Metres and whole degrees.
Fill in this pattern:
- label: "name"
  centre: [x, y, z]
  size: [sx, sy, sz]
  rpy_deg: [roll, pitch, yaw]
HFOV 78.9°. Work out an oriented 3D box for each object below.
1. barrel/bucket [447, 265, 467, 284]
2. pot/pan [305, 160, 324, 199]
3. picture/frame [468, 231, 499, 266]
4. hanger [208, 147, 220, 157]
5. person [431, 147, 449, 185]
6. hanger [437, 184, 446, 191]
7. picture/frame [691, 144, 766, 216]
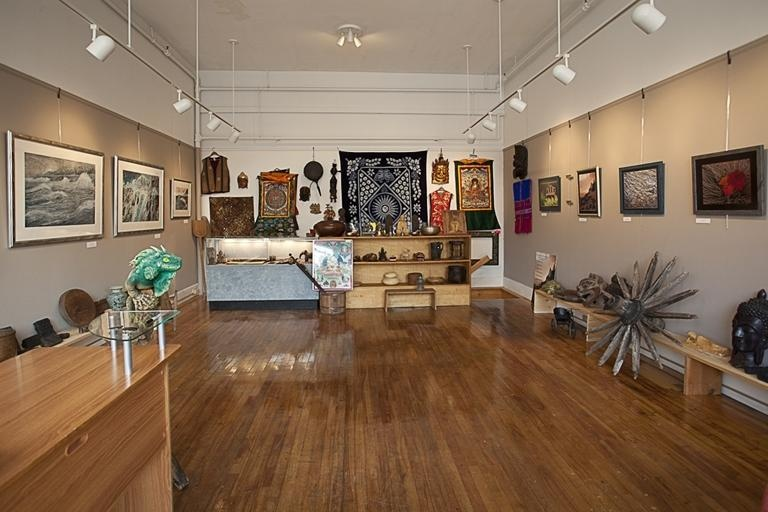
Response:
- label: "barrel/bucket"
  centre: [1.467, 0.386, 9.256]
  size: [0.348, 0.355, 0.353]
  rpy_deg: [1, -4, 0]
- label: "pot/pan"
  centre: [-1.548, -1.697, 10.307]
  size: [0.438, 0.769, 0.105]
  rpy_deg: [-3, 10, 3]
- label: "picture/frame"
  centre: [2.223, -0.192, 10.475]
  size: [0.728, 0.742, 0.081]
  rpy_deg: [1, -1, -4]
- label: "hanger"
  centre: [-3.714, -2.242, 10.150]
  size: [0.216, 0.150, 0.009]
  rpy_deg: [1, 11, 4]
- label: "person"
  centre: [1.259, -1.965, 10.484]
  size: [0.405, 0.758, 0.190]
  rpy_deg: [-2, 12, -4]
- label: "hanger"
  centre: [1.301, -1.513, 10.522]
  size: [0.194, 0.117, 0.056]
  rpy_deg: [-3, 12, -6]
- label: "picture/frame"
  centre: [3.810, -0.820, 5.115]
  size: [0.062, 0.803, 0.826]
  rpy_deg: [-2, 3, -18]
